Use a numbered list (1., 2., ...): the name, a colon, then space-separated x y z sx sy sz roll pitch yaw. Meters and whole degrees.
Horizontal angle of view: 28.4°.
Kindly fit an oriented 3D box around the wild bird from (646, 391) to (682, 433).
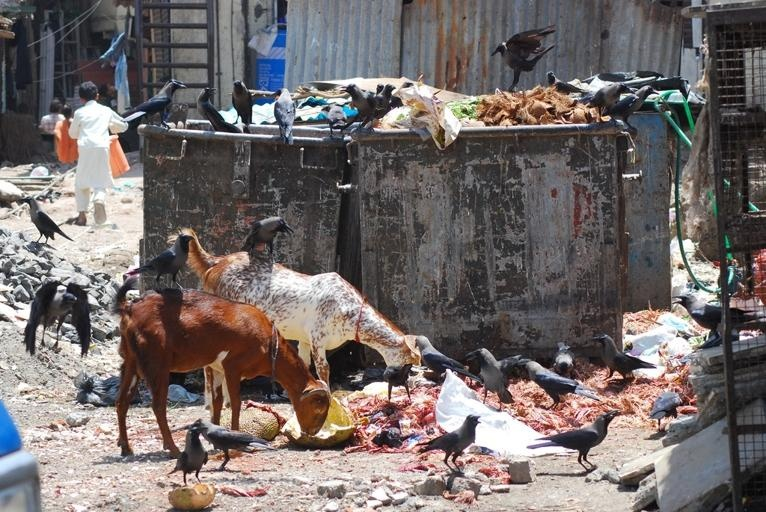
1. wild bird: 3.637 2.019 19.752 0.386 0.504 0.644 0 4 11

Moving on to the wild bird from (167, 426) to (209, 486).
1. wild bird: -2.390 2.449 18.715 0.438 0.704 0.440 -2 4 -15

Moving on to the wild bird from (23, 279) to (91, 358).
1. wild bird: -4.234 0.811 19.792 0.814 0.920 0.328 -2 4 -15

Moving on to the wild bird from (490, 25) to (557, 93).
1. wild bird: 2.001 -3.026 22.760 0.972 0.959 1.108 9 2 1

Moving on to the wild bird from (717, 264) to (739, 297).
1. wild bird: 4.224 0.307 18.600 0.105 0.427 0.299 5 -2 5

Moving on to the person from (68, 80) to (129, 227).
1. person: -5.045 -1.781 26.827 0.898 2.527 0.785 -1 4 -4

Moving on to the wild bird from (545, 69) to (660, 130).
1. wild bird: 3.112 -2.218 21.896 0.946 0.645 1.446 -3 5 -29

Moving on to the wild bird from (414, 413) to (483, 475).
1. wild bird: 0.828 2.338 19.024 0.720 0.713 0.465 -1 4 1

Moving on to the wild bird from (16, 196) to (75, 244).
1. wild bird: -5.508 -0.574 24.578 0.474 0.764 2.060 -2 5 -13

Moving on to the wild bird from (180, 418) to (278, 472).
1. wild bird: -1.906 2.280 18.890 1.261 0.905 0.483 -8 1 -1
